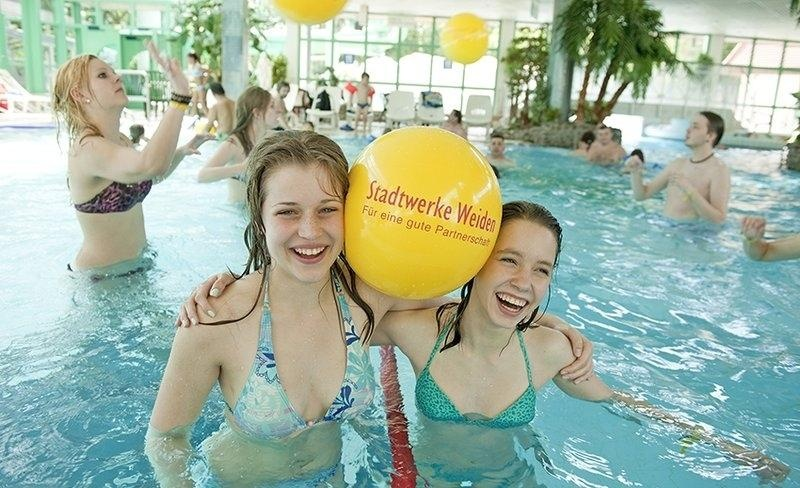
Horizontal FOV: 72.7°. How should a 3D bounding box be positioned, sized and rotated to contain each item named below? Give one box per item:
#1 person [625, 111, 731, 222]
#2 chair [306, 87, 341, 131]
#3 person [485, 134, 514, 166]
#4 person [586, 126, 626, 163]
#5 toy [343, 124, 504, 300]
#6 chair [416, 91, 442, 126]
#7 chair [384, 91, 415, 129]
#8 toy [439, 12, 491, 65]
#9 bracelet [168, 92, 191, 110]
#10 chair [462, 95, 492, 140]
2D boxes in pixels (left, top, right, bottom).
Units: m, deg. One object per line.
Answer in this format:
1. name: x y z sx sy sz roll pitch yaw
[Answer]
1. person: 3.554 -0.934 6.712 0.836 1.367 0.998 -6 16 -30
2. chair: -2.196 -3.884 15.598 0.813 1.222 1.097 1 14 -5
3. person: 1.957 -1.879 10.948 0.639 0.722 0.459 3 18 7
4. person: 4.524 -2.027 11.676 0.599 0.963 0.900 -7 11 -21
5. toy: 0.125 -0.153 3.178 0.926 1.027 0.866 13 14 7
6. chair: 0.911 -4.062 16.312 0.848 0.948 0.682 3 14 0
7. chair: 0.003 -3.877 15.771 0.926 1.074 0.828 -1 15 -13
8. toy: 1.099 -3.479 9.252 0.858 0.952 0.851 -3 -3 -5
9. bracelet: -1.749 -1.132 4.306 0.139 0.103 0.141 1 6 3
10. chair: 2.258 -3.560 15.771 0.989 1.314 0.963 -7 27 -16
